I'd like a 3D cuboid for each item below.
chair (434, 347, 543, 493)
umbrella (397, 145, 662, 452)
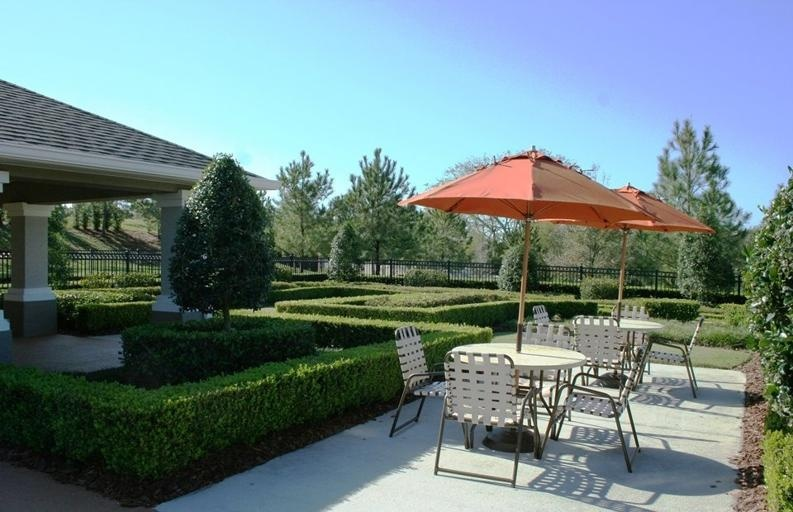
[{"bbox_3d":[1.366,2.266,8.610,1.113,1.772,1.793,0,-3,23],"label":"chair"},{"bbox_3d":[2.159,0.345,9.956,3.730,4.079,3.691,-7,17,-31],"label":"umbrella"}]
